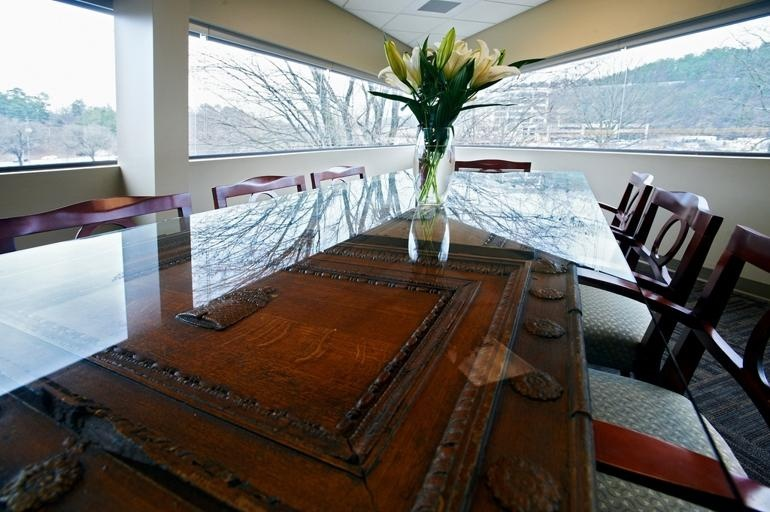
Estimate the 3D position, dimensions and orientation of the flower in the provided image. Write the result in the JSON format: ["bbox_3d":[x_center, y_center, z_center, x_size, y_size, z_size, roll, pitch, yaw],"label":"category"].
[{"bbox_3d":[0.192,-0.495,1.616,0.625,0.679,0.723,14,27,28],"label":"flower"}]
